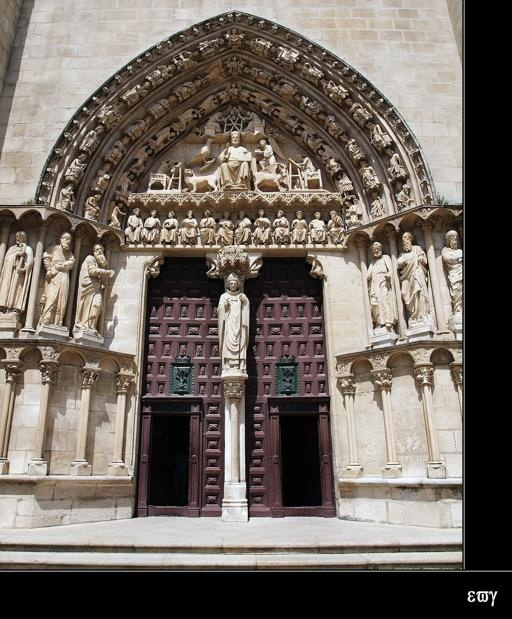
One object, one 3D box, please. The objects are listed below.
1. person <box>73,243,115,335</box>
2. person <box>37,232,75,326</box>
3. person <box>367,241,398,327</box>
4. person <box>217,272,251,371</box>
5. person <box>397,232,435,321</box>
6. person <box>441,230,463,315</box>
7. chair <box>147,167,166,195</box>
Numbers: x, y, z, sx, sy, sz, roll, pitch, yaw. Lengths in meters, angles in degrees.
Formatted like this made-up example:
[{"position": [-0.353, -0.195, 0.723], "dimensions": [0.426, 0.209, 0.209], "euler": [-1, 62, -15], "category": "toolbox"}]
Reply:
[{"position": [-2.637, -0.326, 9.199], "dimensions": [0.340, 1.510, 0.658], "euler": [-7, -10, 34], "category": "person"}, {"position": [-3.080, -0.464, 8.805], "dimensions": [0.414, 1.523, 0.675], "euler": [-3, -8, 6], "category": "person"}, {"position": [2.056, -0.359, 9.334], "dimensions": [0.329, 1.511, 0.626], "euler": [1, -8, -16], "category": "person"}, {"position": [-0.366, 0.215, 9.451], "dimensions": [0.491, 1.710, 0.565], "euler": [-1, -8, -4], "category": "person"}, {"position": [2.506, -0.507, 8.967], "dimensions": [0.404, 1.474, 0.645], "euler": [0, -8, -11], "category": "person"}, {"position": [3.032, -0.583, 8.880], "dimensions": [0.302, 1.354, 0.438], "euler": [-4, -8, 18], "category": "person"}, {"position": [-1.759, -2.385, 10.752], "dimensions": [0.418, 0.348, 0.515], "euler": [-1, 29, 2], "category": "chair"}]
